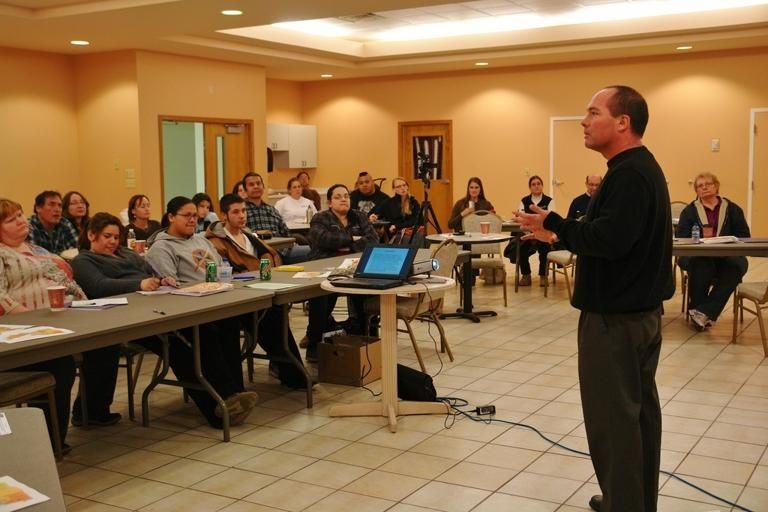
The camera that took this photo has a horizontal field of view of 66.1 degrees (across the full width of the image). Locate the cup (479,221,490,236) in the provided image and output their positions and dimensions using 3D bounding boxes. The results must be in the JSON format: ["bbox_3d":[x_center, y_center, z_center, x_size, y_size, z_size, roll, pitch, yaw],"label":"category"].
[{"bbox_3d":[1.254,-0.355,7.375,0.159,0.141,0.156,0,1,0],"label":"cup"}]

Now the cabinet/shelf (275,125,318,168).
[{"bbox_3d":[-1.970,-2.437,13.098,0.424,0.880,1.098,6,7,39],"label":"cabinet/shelf"}]

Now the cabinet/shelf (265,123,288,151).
[{"bbox_3d":[-2.292,-2.564,12.765,0.201,0.571,0.582,7,13,38],"label":"cabinet/shelf"}]

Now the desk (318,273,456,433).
[{"bbox_3d":[0.039,0.676,4.386,1.131,0.999,1.076,0,-2,-3],"label":"desk"}]

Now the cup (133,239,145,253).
[{"bbox_3d":[-2.357,-0.101,5.785,0.140,0.121,0.130,1,9,0],"label":"cup"}]

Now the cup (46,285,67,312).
[{"bbox_3d":[-1.992,0.255,3.687,0.158,0.148,0.155,-2,-3,0],"label":"cup"}]

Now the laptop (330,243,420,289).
[{"bbox_3d":[-0.085,0.063,4.048,0.517,0.238,0.383,4,11,27],"label":"laptop"}]

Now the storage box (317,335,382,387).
[{"bbox_3d":[-0.284,0.852,5.044,0.473,0.250,0.447,2,4,24],"label":"storage box"}]

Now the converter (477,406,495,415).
[{"bbox_3d":[0.730,1.085,4.224,0.116,0.024,0.056,-1,45,-1],"label":"converter"}]

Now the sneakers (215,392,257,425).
[{"bbox_3d":[-0.976,1.044,4.119,0.305,0.174,0.120,-28,30,-12],"label":"sneakers"}]

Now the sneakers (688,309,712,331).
[{"bbox_3d":[3.360,0.647,6.286,0.238,0.239,0.405,4,11,26],"label":"sneakers"}]
